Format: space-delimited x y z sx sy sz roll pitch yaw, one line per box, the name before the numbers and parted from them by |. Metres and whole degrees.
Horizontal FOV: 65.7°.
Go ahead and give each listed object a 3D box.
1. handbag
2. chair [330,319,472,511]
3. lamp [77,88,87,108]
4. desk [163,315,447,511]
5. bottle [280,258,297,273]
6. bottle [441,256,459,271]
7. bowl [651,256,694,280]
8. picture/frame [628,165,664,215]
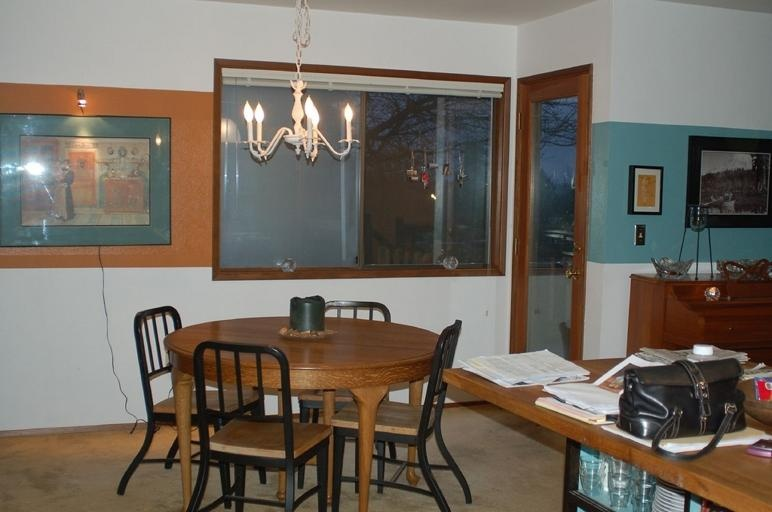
handbag | 1.245 0.581 2.493 0.507 0.298 0.269 -4 1 -10
chair | 0.084 1.003 4.477 1.184 1.796 0.921 3 2 9
lamp | -2.422 -1.264 4.748 0.071 0.161 0.064 -3 5 -18
desk | -0.452 1.038 3.794 1.359 0.861 1.330 5 12 21
bottle | -0.846 0.083 5.155 0.143 0.123 0.057 -3 5 -12
bottle | 0.588 0.065 5.489 0.130 0.097 0.130 -1 5 0
bowl | 2.223 0.096 4.655 0.222 0.102 0.226 -1 -1 0
picture/frame | 2.085 -0.530 4.796 0.325 0.386 0.050 -2 4 -24
